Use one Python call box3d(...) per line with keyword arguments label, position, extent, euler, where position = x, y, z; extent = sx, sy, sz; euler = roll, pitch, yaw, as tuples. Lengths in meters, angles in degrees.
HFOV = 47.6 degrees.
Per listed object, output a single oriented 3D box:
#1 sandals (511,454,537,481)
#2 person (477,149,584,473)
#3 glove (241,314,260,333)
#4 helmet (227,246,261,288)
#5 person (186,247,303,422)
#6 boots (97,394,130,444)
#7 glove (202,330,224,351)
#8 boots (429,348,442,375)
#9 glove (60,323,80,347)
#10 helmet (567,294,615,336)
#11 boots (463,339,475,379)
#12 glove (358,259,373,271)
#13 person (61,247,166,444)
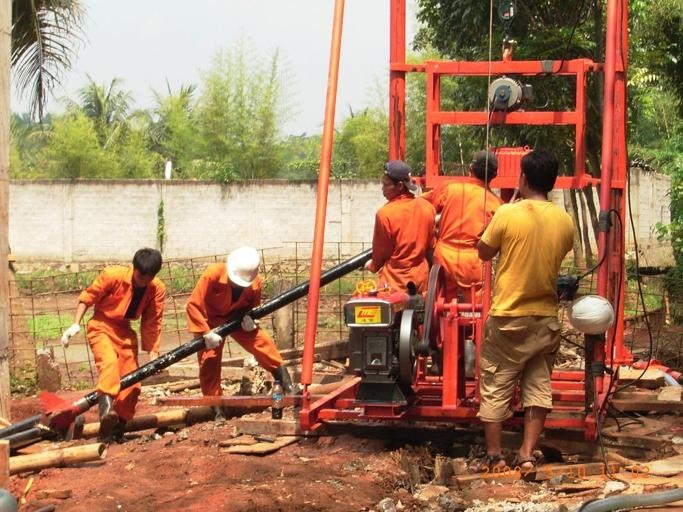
box3d(label="sandals", position=(1.579, 1.866, 6.787), extent=(0.247, 0.223, 0.151), euler=(0, 3, 38))
box3d(label="person", position=(1.617, 0.715, 6.887), extent=(0.805, 2.441, 0.461), euler=(0, 3, 13))
box3d(label="glove", position=(-1.072, 0.791, 8.996), extent=(0.155, 0.109, 0.225), euler=(4, -13, -9))
box3d(label="helmet", position=(-1.180, 0.113, 9.062), extent=(0.323, 0.503, 0.246), euler=(2, -21, -21))
box3d(label="person", position=(-1.236, 0.913, 9.205), extent=(1.161, 2.021, 0.775), euler=(-2, 3, -14))
box3d(label="boots", position=(-2.583, 1.853, 8.714), extent=(0.293, 0.596, 0.480), euler=(-2, 2, -18))
box3d(label="glove", position=(-1.449, 0.963, 8.885), extent=(0.266, 0.201, 0.136), euler=(-3, 3, -42))
box3d(label="boots", position=(0.990, 1.114, 8.136), extent=(0.120, 0.078, 0.385), euler=(-10, -44, -8))
box3d(label="glove", position=(-3.173, 0.931, 9.073), extent=(0.174, 0.308, 0.536), euler=(-2, 2, -19))
box3d(label="helmet", position=(2.224, 0.528, 6.952), extent=(0.360, 0.377, 0.292), euler=(-9, 17, -18))
box3d(label="boots", position=(1.257, 1.014, 7.555), extent=(0.098, 0.374, 0.130), euler=(-1, 3, 9))
box3d(label="glove", position=(0.289, 0.115, 9.183), extent=(0.112, 0.158, 0.160), euler=(-2, -17, 12))
box3d(label="person", position=(-2.591, 1.013, 9.072), extent=(1.029, 2.177, 1.170), euler=(1, 3, 43))
